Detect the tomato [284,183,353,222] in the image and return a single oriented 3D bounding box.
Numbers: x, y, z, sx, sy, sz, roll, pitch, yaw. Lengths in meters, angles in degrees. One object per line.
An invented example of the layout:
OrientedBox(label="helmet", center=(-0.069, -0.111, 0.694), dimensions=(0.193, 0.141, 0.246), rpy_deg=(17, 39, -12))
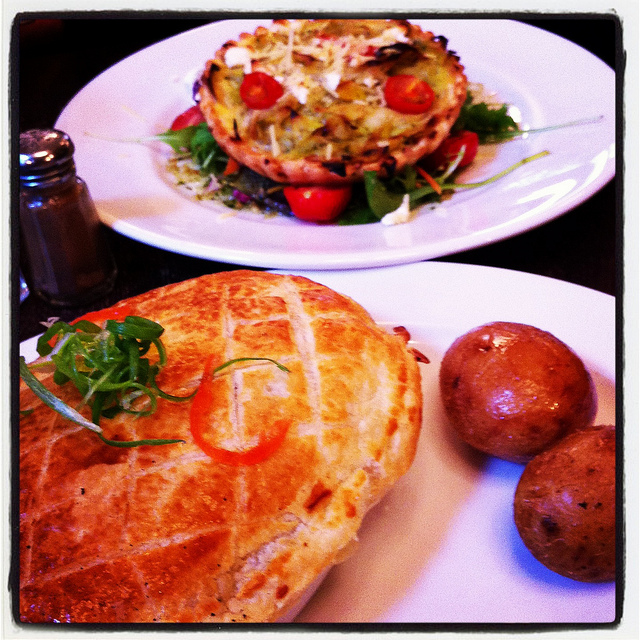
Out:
OrientedBox(label="tomato", center=(-0.016, -0.378, 2.125), dimensions=(0.213, 0.112, 0.114), rpy_deg=(7, 57, 3))

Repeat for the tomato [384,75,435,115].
OrientedBox(label="tomato", center=(0.295, -0.737, 2.159), dimensions=(0.156, 0.077, 0.154), rpy_deg=(21, 58, 12))
